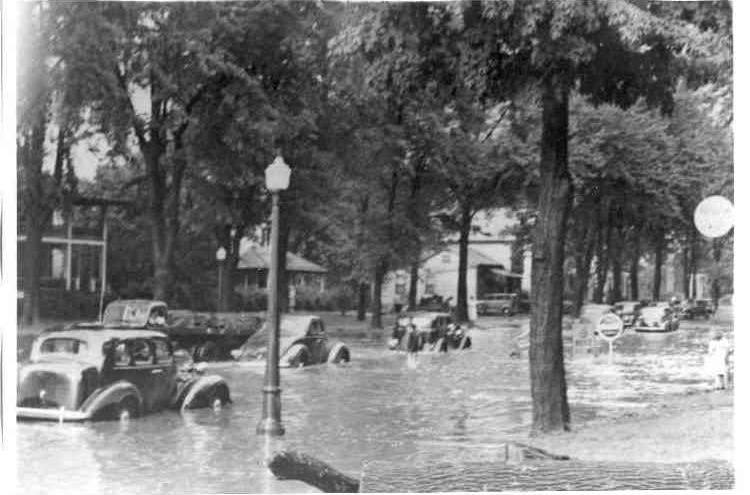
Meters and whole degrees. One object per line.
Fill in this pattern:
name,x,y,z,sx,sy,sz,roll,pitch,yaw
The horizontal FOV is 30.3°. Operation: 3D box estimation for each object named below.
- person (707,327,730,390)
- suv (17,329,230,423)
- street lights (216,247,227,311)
person,6.795,2.198,27.481,0.481,1.155,0.196,-1,-5,10
suv,-4.824,2.563,27.154,1.895,1.529,3.248,-1,-2,45
street lights,-3.053,0.603,27.528,0.217,1.251,0.131,1,-5,-9
